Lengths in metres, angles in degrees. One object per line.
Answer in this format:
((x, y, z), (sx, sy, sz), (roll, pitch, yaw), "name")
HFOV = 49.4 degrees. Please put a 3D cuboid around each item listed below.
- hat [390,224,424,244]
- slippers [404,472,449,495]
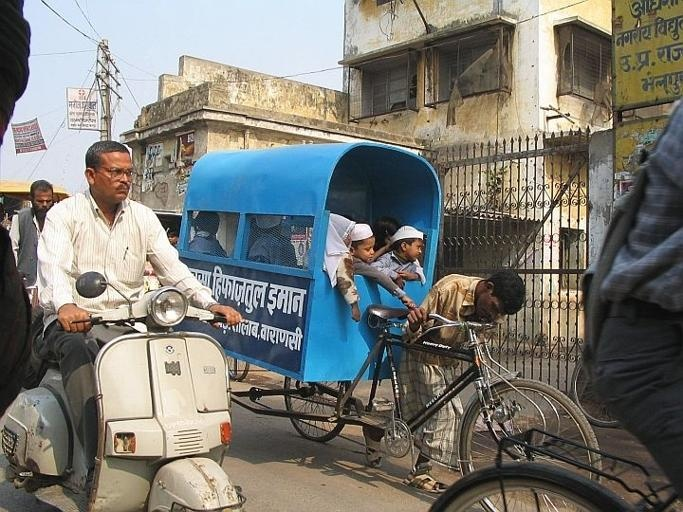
((0.530, -0.169, 6.085), (0.190, 0.116, 0.139), (-6, -7, 30), "hat")
((0.591, 1.589, 5.183), (0.207, 0.076, 0.142), (0, 2, 35), "slippers")
